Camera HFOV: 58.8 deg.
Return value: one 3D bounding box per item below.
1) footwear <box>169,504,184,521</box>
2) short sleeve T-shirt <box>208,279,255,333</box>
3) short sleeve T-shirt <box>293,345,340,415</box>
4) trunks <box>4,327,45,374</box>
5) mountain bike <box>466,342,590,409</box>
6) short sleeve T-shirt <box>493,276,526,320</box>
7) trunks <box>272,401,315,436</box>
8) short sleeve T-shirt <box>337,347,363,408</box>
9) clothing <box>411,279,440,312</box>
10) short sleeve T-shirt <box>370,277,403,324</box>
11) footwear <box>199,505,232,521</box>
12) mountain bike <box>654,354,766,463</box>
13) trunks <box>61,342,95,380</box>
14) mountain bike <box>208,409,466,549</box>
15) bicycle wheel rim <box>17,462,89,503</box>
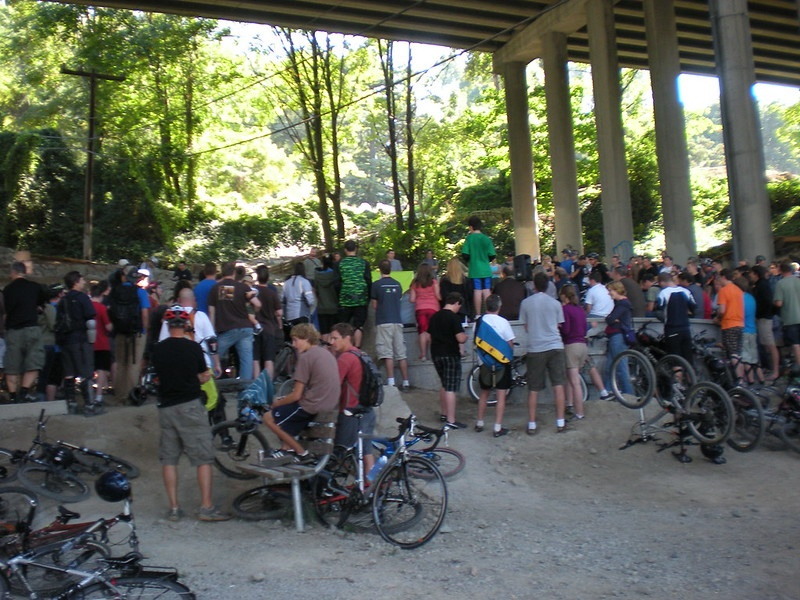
[{"bbox_3d":[-2.914,2.798,9.202,0.145,0.080,0.244,2,-6,-11],"label":"footwear"},{"bbox_3d":[-2.874,0.110,12.770,1.185,0.873,0.640,2,5,21],"label":"short sleeve T-shirt"},{"bbox_3d":[-1.069,1.062,9.263,0.576,0.900,0.222,-3,-3,-5],"label":"short sleeve T-shirt"},{"bbox_3d":[-6.763,0.932,12.714,0.653,0.883,0.246,-2,-4,-12],"label":"trunks"},{"bbox_3d":[2.591,1.394,14.509,3.184,1.243,1.336,1,-7,-31],"label":"mountain bike"},{"bbox_3d":[2.355,-0.047,14.988,1.003,0.782,0.996,2,8,5],"label":"short sleeve T-shirt"},{"bbox_3d":[-1.404,1.549,9.281,0.759,0.265,0.486,11,-24,-25],"label":"trunks"},{"bbox_3d":[-0.663,1.063,9.535,0.339,0.818,0.238,-3,-3,-5],"label":"short sleeve T-shirt"},{"bbox_3d":[0.532,-0.090,14.284,1.015,0.639,0.573,0,9,10],"label":"clothing"},{"bbox_3d":[-0.267,0.014,14.018,0.586,0.948,0.252,-3,-3,-2],"label":"short sleeve T-shirt"},{"bbox_3d":[-2.435,2.832,9.344,0.512,0.149,0.151,1,-3,-10],"label":"footwear"},{"bbox_3d":[5.091,1.790,11.555,1.373,1.037,2.255,1,-3,-19],"label":"mountain bike"},{"bbox_3d":[-5.755,1.097,12.645,0.502,0.667,0.260,-2,-4,-20],"label":"trunks"},{"bbox_3d":[-0.716,2.398,9.364,3.525,1.067,1.806,1,12,26],"label":"mountain bike"},{"bbox_3d":[-4.503,2.413,9.185,0.811,0.543,0.712,-1,-3,-14],"label":"bicycle wheel rim"}]
